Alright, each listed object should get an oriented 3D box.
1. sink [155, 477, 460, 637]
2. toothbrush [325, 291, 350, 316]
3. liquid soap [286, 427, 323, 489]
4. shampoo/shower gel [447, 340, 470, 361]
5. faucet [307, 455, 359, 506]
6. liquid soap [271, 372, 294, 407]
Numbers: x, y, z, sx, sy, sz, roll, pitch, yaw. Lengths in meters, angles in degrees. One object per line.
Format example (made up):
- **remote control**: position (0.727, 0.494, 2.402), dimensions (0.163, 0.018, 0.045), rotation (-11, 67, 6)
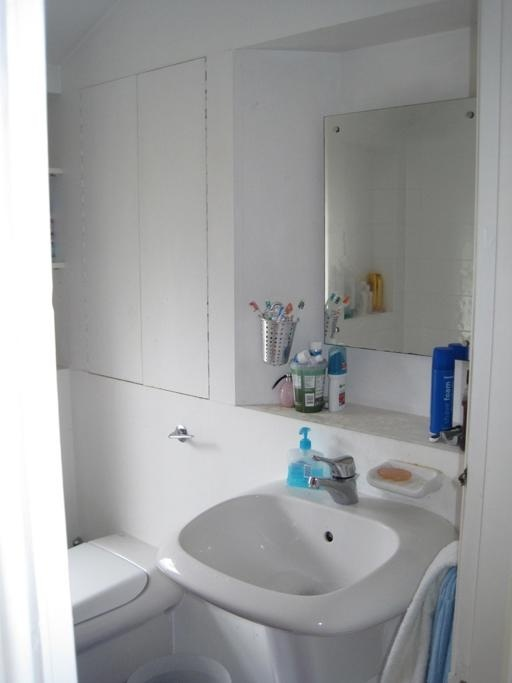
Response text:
- **sink**: position (0.095, 0.385, 1.104), dimensions (0.488, 0.209, 0.464), rotation (4, 6, 40)
- **toothbrush**: position (0.211, -0.098, 1.430), dimensions (0.027, 0.036, 0.083), rotation (10, 11, -8)
- **liquid soap**: position (0.109, 0.289, 1.312), dimensions (0.065, 0.153, 0.067), rotation (-16, 23, -42)
- **shampoo/shower gel**: position (0.436, 0.017, 1.208), dimensions (0.034, 0.046, 0.051), rotation (1, 13, 15)
- **faucet**: position (0.173, 0.293, 1.190), dimensions (0.152, 0.112, 0.048), rotation (1, 0, -35)
- **liquid soap**: position (0.072, 0.126, 1.463), dimensions (0.032, 0.085, 0.084), rotation (-4, 9, -19)
